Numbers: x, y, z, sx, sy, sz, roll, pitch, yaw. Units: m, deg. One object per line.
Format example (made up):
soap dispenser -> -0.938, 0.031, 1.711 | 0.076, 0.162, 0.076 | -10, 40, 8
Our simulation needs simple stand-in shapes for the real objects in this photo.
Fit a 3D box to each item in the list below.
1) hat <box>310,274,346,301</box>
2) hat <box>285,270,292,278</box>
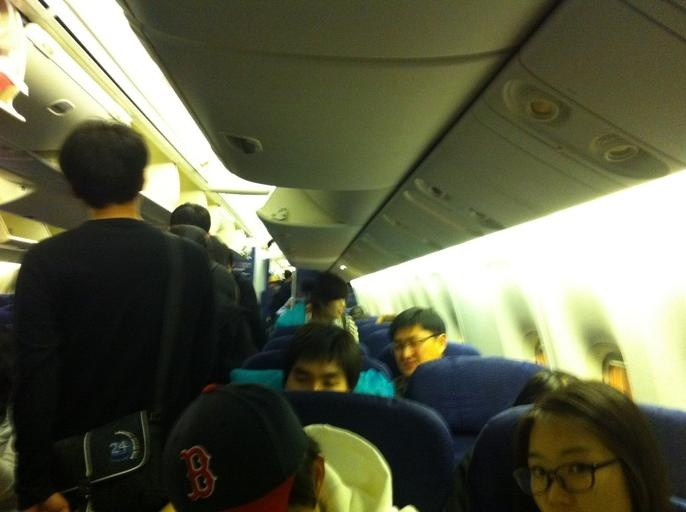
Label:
hat -> -0.118, 0.258, 4.345 | 0.170, 0.224, 0.229 | 3, -26, -5
hat -> -0.429, 0.131, 4.436 | 0.057, 0.054, 0.072 | -1, 0, 4
